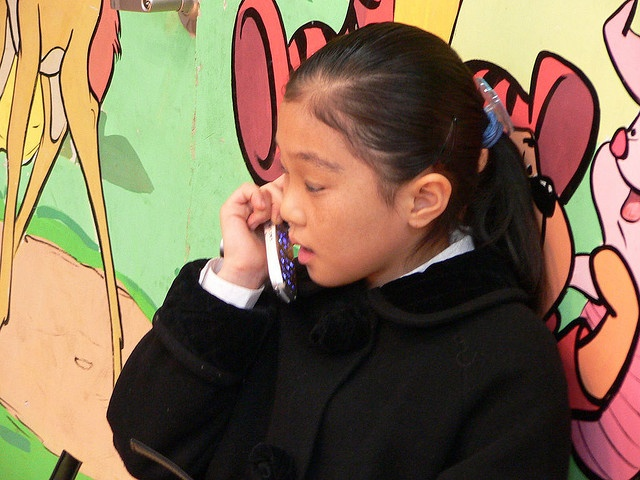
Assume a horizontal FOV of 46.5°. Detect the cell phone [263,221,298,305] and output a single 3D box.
[{"bbox_3d":[-0.095,0.048,1.661,0.032,0.183,0.080,-9,-10,19],"label":"cell phone"}]
